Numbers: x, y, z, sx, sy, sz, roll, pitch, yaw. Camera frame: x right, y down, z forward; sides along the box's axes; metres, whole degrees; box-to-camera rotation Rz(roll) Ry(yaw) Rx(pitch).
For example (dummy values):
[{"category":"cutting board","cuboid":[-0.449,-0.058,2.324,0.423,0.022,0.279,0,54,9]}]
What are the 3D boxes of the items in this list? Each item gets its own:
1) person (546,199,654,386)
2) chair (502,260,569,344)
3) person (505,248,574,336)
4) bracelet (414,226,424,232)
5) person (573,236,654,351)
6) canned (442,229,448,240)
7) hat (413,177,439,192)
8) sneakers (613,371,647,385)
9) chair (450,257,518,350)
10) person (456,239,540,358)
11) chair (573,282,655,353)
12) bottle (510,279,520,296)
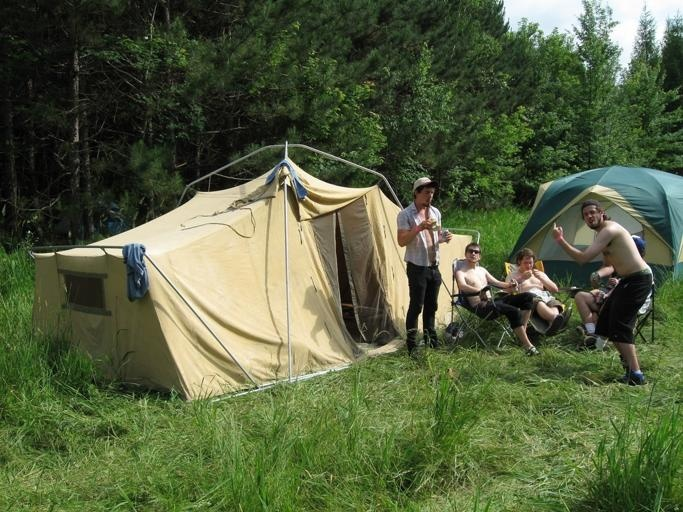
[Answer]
[{"category":"person","cuboid":[2.896,0.396,8.258,0.967,2.029,0.649,2,0,6]},{"category":"chair","cuboid":[2.488,0.499,9.511,0.655,0.738,1.398,-1,7,-2]},{"category":"person","cuboid":[2.488,0.409,9.431,0.515,0.866,1.360,-5,13,-8]},{"category":"bracelet","cuboid":[0.908,-0.312,8.626,0.082,0.076,0.123,0,0,23]},{"category":"person","cuboid":[3.344,0.445,9.304,0.697,1.510,0.546,2,-14,38]},{"category":"canned","cuboid":[1.247,-0.262,8.992,0.078,0.178,0.092,-2,4,9]},{"category":"hat","cuboid":[0.987,-0.862,8.899,0.302,0.173,0.217,-12,-4,44]},{"category":"sneakers","cuboid":[3.087,1.272,7.983,0.321,0.169,0.127,3,4,26]},{"category":"chair","cuboid":[1.704,0.593,9.570,0.673,1.065,0.729,-3,0,21]},{"category":"person","cuboid":[1.895,0.493,9.263,1.108,1.297,0.738,0,1,23]},{"category":"chair","cuboid":[3.328,0.686,9.142,0.851,1.206,0.808,-2,-4,45]},{"category":"bottle","cuboid":[2.146,0.390,9.281,0.094,0.123,0.201,7,-29,31]}]
